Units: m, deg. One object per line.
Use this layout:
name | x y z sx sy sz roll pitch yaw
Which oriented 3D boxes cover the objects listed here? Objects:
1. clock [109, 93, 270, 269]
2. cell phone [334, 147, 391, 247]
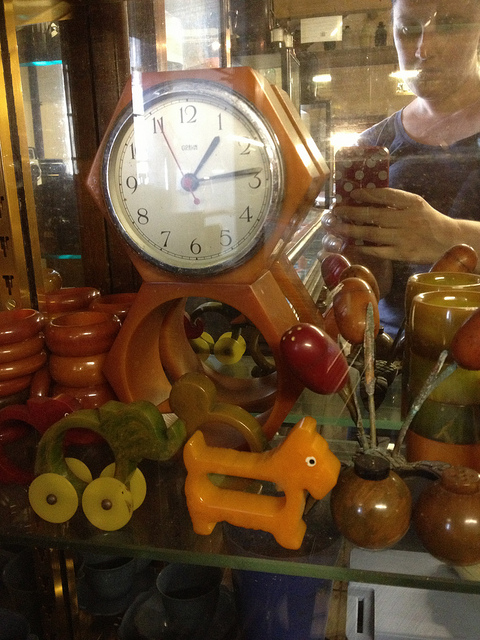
clock | -0.039 -0.124 0.425 0.164 0.135 0.018 2 13 11
cell phone | 0.112 -0.124 0.461 0.053 0.093 0.009 -17 53 3
